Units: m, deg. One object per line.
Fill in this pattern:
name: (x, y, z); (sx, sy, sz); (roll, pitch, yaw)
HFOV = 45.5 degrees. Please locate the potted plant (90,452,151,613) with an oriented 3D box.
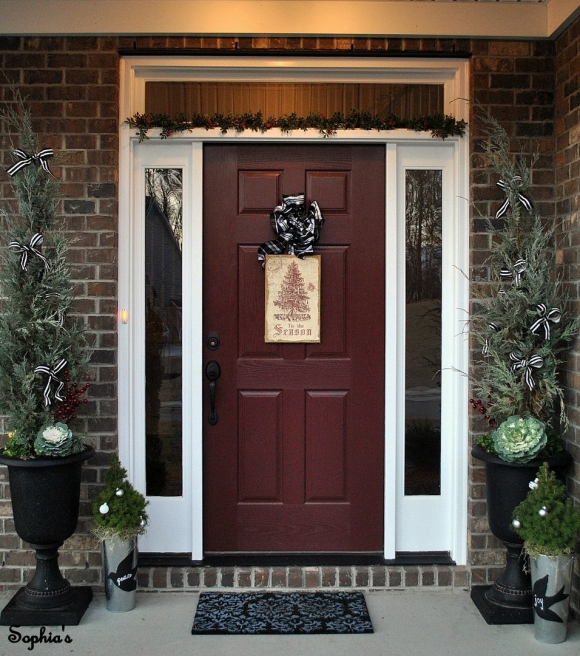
potted plant: (-0.776, 0.960, 3.180); (0.227, 0.713, 0.222); (1, 15, 2)
